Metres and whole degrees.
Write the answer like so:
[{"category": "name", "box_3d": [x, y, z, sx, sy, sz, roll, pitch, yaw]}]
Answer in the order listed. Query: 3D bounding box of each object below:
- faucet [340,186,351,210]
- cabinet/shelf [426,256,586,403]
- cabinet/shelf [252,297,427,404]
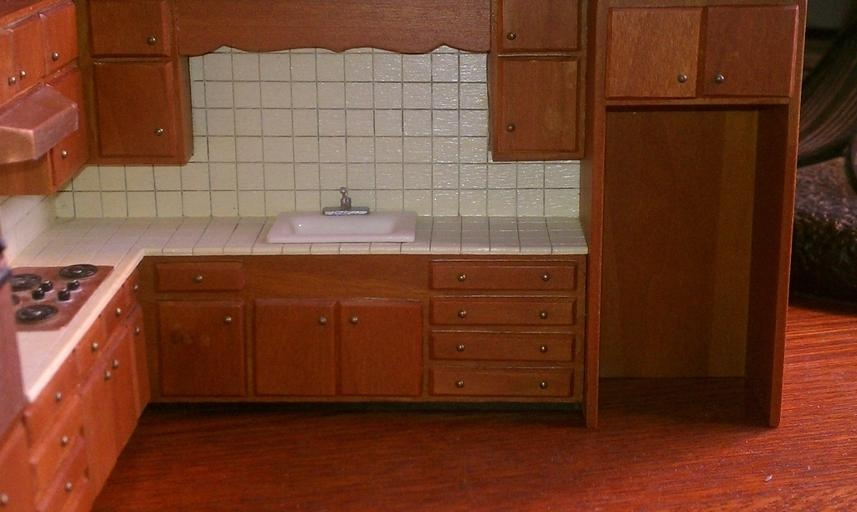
[{"category": "faucet", "box_3d": [-0.562, -0.399, 5.061, 0.083, 0.152, 0.142, -2, 12, -6]}, {"category": "cabinet/shelf", "box_3d": [0.512, 0.427, 4.728, 1.087, 0.902, 0.484, 0, 8, 2]}, {"category": "cabinet/shelf", "box_3d": [-0.566, 0.592, 4.748, 1.231, 0.609, 0.649, 0, 5, 0]}]
